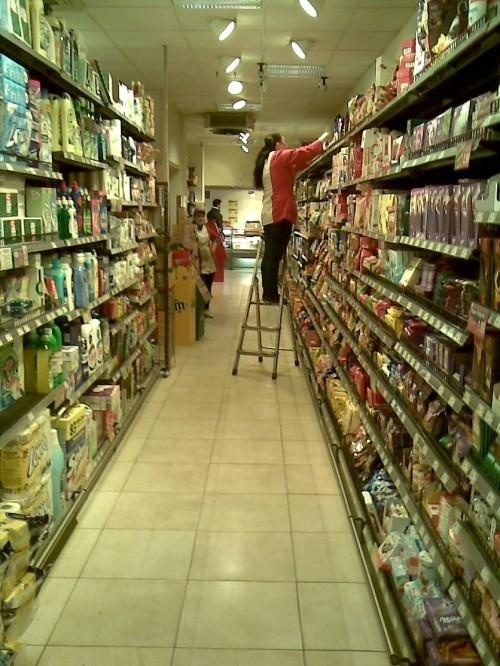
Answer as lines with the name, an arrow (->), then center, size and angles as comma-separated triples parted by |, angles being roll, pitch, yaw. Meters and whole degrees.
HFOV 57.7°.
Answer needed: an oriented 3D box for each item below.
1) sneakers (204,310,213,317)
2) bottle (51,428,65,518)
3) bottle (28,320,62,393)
sneakers -> -0.768, -0.356, 8.620 | 0.199, 0.158, 0.072 | -5, 33, -18
bottle -> -0.895, 0.647, 2.115 | 0.047, 0.432, 0.238 | -1, 4, -21
bottle -> -0.939, 0.107, 2.085 | 0.149, 0.289, 0.270 | -1, 4, -23
